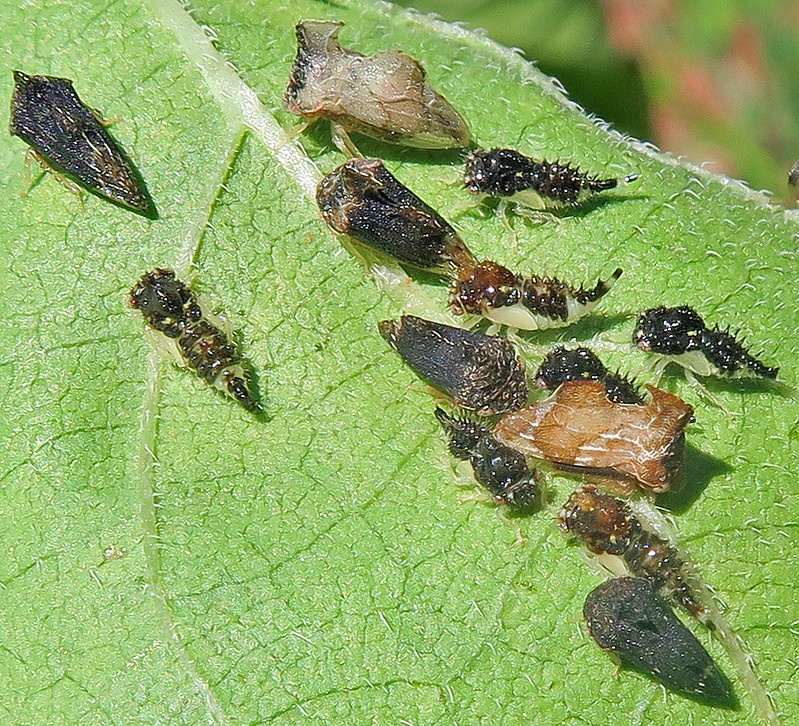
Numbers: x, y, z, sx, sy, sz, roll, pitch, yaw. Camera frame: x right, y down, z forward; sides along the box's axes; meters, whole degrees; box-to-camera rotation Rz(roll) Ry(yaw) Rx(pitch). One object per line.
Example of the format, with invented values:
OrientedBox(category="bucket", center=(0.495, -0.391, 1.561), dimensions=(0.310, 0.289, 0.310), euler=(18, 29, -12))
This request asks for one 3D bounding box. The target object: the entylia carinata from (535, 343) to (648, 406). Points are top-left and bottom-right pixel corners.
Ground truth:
OrientedBox(category="entylia carinata", center=(1.099, 0.080, 5.755), dimensions=(0.521, 0.122, 0.319), euler=(26, 69, 14))
